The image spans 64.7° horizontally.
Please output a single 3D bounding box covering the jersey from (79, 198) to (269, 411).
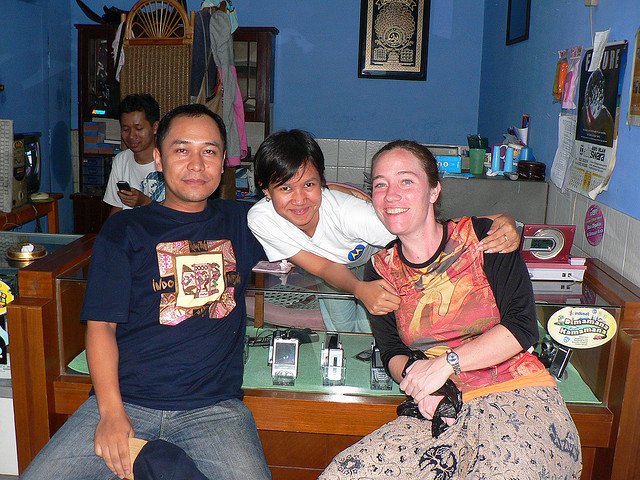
[{"bbox_3d":[-0.500,0.234,1.743,0.745,0.683,0.312,1,-3,-19],"label":"jersey"}]

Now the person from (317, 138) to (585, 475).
[{"bbox_3d":[0.454,0.214,1.549,0.712,1.002,0.448,3,12,17],"label":"person"}]

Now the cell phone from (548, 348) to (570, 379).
[{"bbox_3d":[0.884,0.456,1.874,0.026,0.104,0.072,24,-9,-6],"label":"cell phone"}]

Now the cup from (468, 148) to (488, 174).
[{"bbox_3d":[1.083,-0.559,3.588,0.166,0.198,0.152,1,9,0],"label":"cup"}]

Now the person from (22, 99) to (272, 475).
[{"bbox_3d":[-0.550,0.128,1.709,0.692,1.149,0.599,-1,12,-2],"label":"person"}]

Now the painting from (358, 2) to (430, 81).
[{"bbox_3d":[0.726,-1.941,4.856,0.648,0.933,0.063,3,12,5],"label":"painting"}]

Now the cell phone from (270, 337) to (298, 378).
[{"bbox_3d":[-0.133,0.456,1.943,0.099,0.177,0.018,3,16,-4],"label":"cell phone"}]

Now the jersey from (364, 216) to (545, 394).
[{"bbox_3d":[0.458,0.237,1.761,0.560,0.560,0.299,-12,23,34],"label":"jersey"}]

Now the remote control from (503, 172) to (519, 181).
[{"bbox_3d":[1.213,-0.407,3.207,0.051,0.031,0.075,-6,20,-31],"label":"remote control"}]

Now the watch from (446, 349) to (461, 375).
[{"bbox_3d":[0.410,0.372,1.549,0.032,0.073,0.039,-20,-16,11],"label":"watch"}]
